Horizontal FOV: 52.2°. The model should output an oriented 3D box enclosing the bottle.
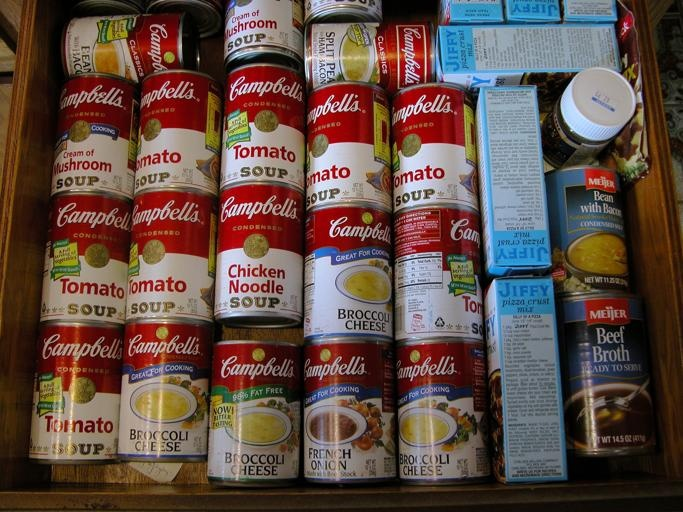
[{"bbox_3d":[0.570,-0.324,1.796,0.249,0.219,0.348,11,0,0],"label":"bottle"}]
